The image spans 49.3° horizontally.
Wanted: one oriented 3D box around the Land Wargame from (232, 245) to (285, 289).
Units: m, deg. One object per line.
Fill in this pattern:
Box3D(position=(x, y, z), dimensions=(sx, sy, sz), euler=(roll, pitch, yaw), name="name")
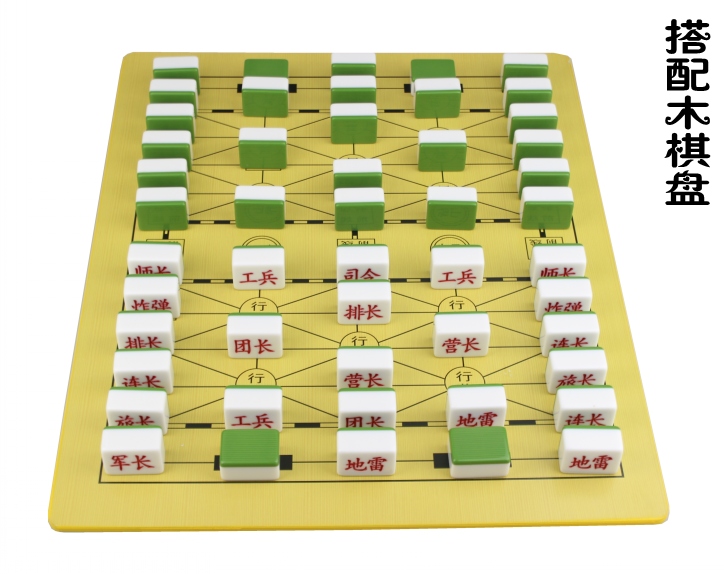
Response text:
Box3D(position=(-0.817, -0.150, 6.232), dimensions=(0.394, 0.330, 0.184), euler=(1, 33, -1), name="Land Wargame")
